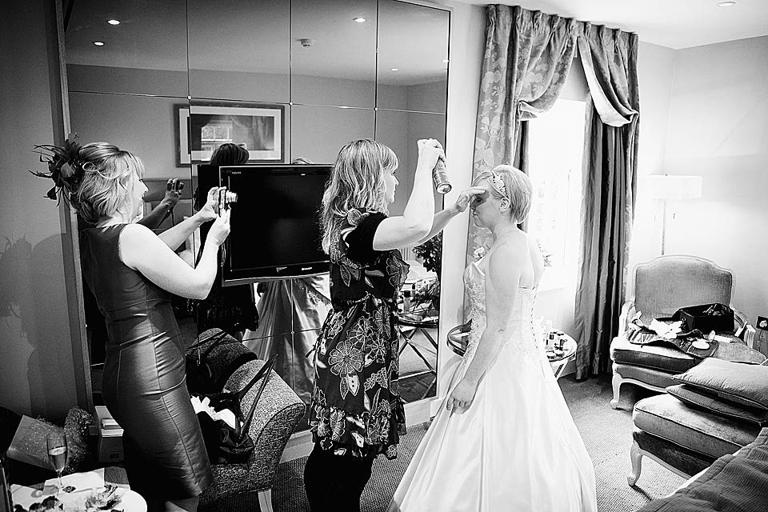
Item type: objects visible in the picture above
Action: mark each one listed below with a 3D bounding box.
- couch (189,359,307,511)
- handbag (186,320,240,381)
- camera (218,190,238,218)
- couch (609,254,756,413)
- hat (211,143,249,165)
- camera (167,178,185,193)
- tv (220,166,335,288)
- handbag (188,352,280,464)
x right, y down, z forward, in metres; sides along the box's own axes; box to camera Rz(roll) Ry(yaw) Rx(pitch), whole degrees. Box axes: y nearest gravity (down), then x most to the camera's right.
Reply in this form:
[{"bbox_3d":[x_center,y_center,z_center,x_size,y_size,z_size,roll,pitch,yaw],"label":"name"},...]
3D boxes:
[{"bbox_3d":[-0.900,1.192,3.732,0.821,1.076,0.881,2,2,-30],"label":"couch"},{"bbox_3d":[-1.255,0.710,3.713,0.283,0.305,0.319,5,-20,26],"label":"handbag"},{"bbox_3d":[-0.898,-0.311,2.942,0.058,0.169,0.124,12,4,41],"label":"camera"},{"bbox_3d":[2.825,0.570,5.178,1.282,1.626,1.375,2,1,31],"label":"couch"},{"bbox_3d":[-1.052,-0.702,3.591,0.184,0.181,0.145,-10,19,14],"label":"hat"},{"bbox_3d":[-1.381,-0.461,3.446,0.095,0.120,0.109,1,23,-38],"label":"camera"},{"bbox_3d":[-0.700,-0.226,3.724,0.947,0.833,0.098,-7,9,-36],"label":"tv"},{"bbox_3d":[-1.092,1.029,3.427,0.653,0.689,0.449,5,4,22],"label":"handbag"}]
